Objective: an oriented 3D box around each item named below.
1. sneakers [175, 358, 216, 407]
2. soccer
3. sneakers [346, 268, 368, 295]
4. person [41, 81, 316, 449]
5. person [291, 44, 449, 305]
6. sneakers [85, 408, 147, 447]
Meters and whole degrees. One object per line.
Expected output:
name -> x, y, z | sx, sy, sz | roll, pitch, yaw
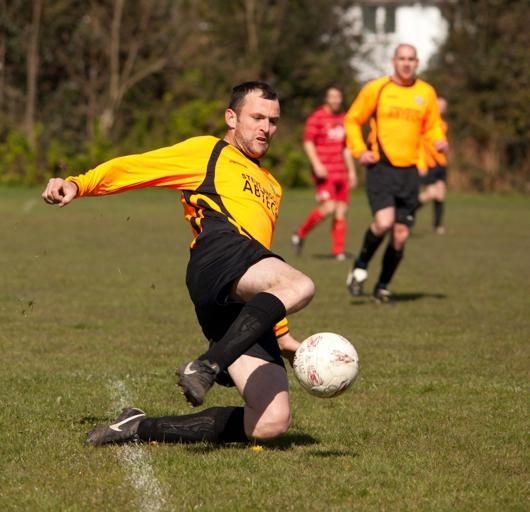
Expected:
sneakers -> -0.313, 0.572, 5.055 | 0.152, 0.099, 0.299 | -16, 25, -3
soccer -> 0.297, 0.536, 5.365 | 0.307, 0.312, 0.302 | 25, -33, -34
sneakers -> 0.751, 0.186, 8.993 | 0.099, 0.121, 0.287 | 15, 19, -10
person -> -0.231, 0.050, 5.572 | 1.170, 1.818, 1.071 | -9, 13, -38
person -> 0.983, -0.573, 8.478 | 0.566, 2.061, 0.934 | -6, 11, -28
sneakers -> -0.752, 0.890, 5.660 | 0.209, 0.091, 0.172 | -18, 4, -5
